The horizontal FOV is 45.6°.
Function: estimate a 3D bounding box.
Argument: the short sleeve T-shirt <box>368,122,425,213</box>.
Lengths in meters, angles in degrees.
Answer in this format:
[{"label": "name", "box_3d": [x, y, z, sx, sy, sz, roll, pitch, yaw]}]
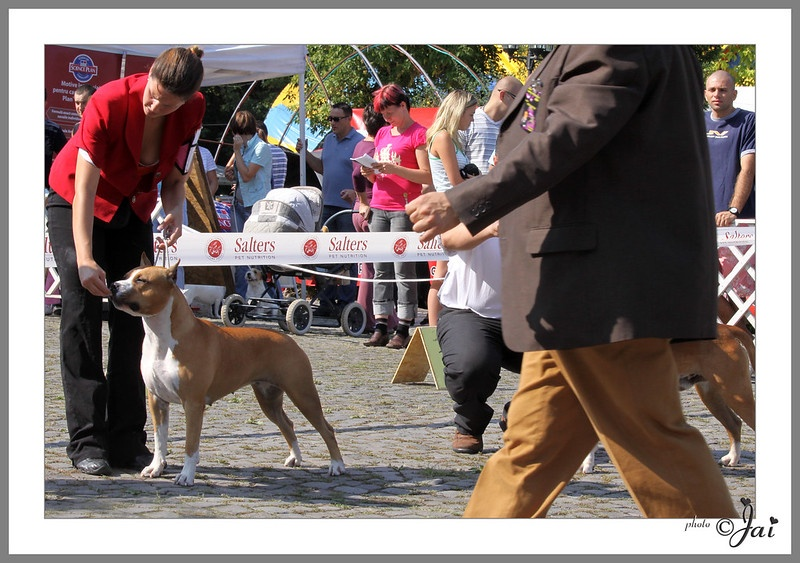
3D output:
[{"label": "short sleeve T-shirt", "box_3d": [-0.038, -1.185, 10.100, 0.776, 0.950, 0.518, -6, -12, 41]}]

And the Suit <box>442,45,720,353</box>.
[{"label": "Suit", "box_3d": [1.070, -0.425, 4.762, 0.980, 1.784, 1.594, -5, -20, 30]}]

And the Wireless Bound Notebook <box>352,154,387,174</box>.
[{"label": "Wireless Bound Notebook", "box_3d": [-0.265, -1.193, 9.189, 0.232, 0.098, 0.315, 4, -19, 31]}]

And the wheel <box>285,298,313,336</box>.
[{"label": "wheel", "box_3d": [-1.232, 0.430, 11.664, 0.125, 0.393, 0.363, 9, 18, 39]}]

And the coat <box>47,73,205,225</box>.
[{"label": "coat", "box_3d": [-1.659, -0.927, 6.048, 0.748, 0.925, 0.615, -2, 43, -40]}]

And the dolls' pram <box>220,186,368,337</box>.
[{"label": "dolls' pram", "box_3d": [-1.284, -0.324, 11.817, 1.518, 1.877, 1.411, 12, -8, -39]}]

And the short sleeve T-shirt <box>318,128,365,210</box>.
[{"label": "short sleeve T-shirt", "box_3d": [-0.791, -1.522, 12.844, 0.713, 1.105, 0.424, 7, 4, 29]}]

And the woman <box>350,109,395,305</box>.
[{"label": "woman", "box_3d": [-0.353, -0.895, 11.952, 0.488, 1.953, 0.487, 5, 4, 26]}]

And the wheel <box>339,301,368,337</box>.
[{"label": "wheel", "box_3d": [-0.566, 0.480, 11.972, 0.097, 0.399, 0.368, 7, 15, 37]}]

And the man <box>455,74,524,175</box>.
[{"label": "man", "box_3d": [0.858, -1.470, 9.339, 0.388, 1.016, 0.299, 4, 41, 3]}]

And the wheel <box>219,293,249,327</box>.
[{"label": "wheel", "box_3d": [-1.987, 0.353, 11.553, 0.107, 0.340, 0.335, 5, 18, 37]}]

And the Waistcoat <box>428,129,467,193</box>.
[{"label": "Waistcoat", "box_3d": [0.430, -0.943, 7.717, 0.257, 0.473, 0.381, -4, -10, 19]}]
